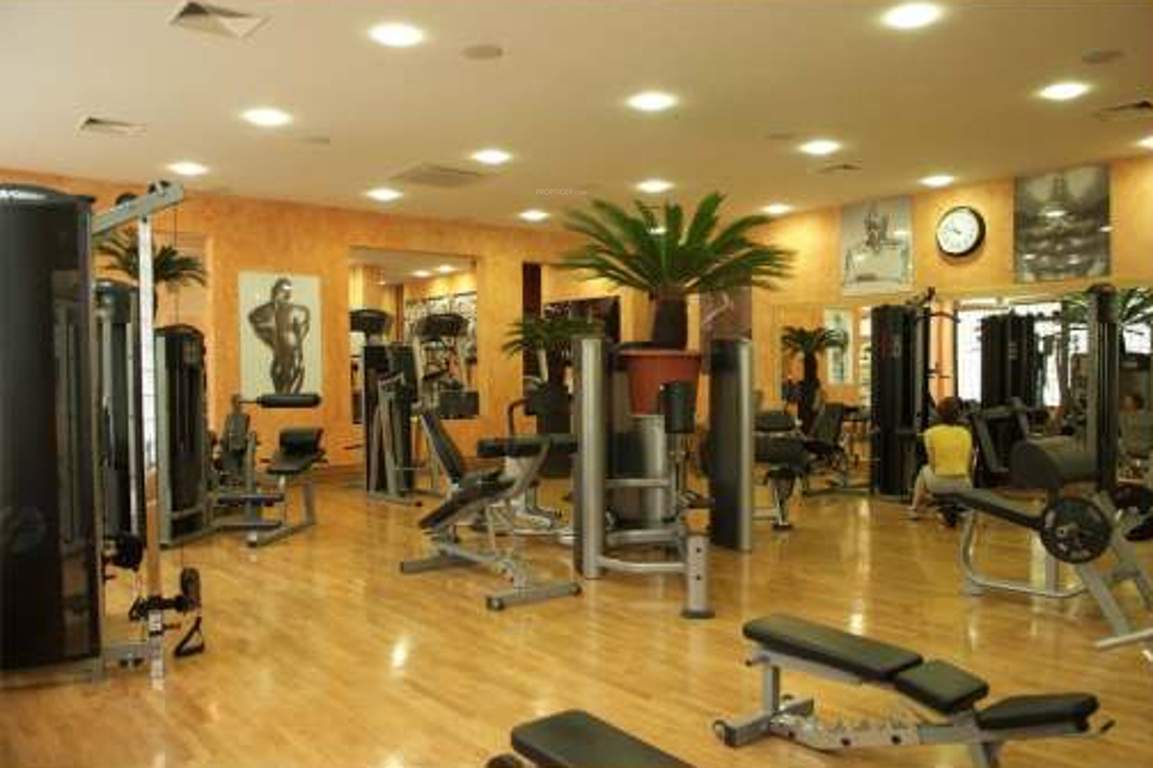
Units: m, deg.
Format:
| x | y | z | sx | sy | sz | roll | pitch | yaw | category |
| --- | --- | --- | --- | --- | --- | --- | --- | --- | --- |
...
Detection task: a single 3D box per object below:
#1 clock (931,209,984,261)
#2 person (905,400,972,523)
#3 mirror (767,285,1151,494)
| x | y | z | sx | sy | sz | roll | pitch | yaw | category |
| --- | --- | --- | --- | --- | --- | --- | --- | --- | --- |
| 4.432 | -1.711 | 9.474 | 0.567 | 0.504 | 0.553 | -22 | -6 | 29 | clock |
| 3.275 | 0.706 | 7.217 | 0.467 | 1.117 | 0.742 | -2 | 5 | -6 | person |
| 3.265 | -0.071 | 9.266 | 5.124 | 2.475 | 1.319 | -2 | 3 | -6 | mirror |
